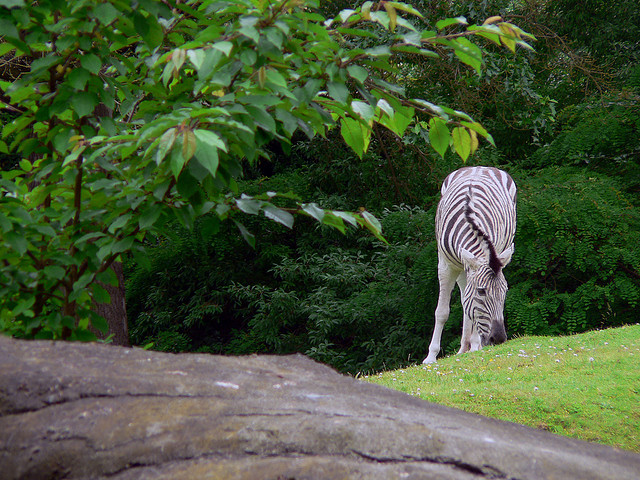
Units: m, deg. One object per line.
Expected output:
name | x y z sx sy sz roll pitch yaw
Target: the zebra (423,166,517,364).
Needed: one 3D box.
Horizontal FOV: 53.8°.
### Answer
zebra | 2.053 0.352 8.636 1.067 2.528 4.336 0 6 9
